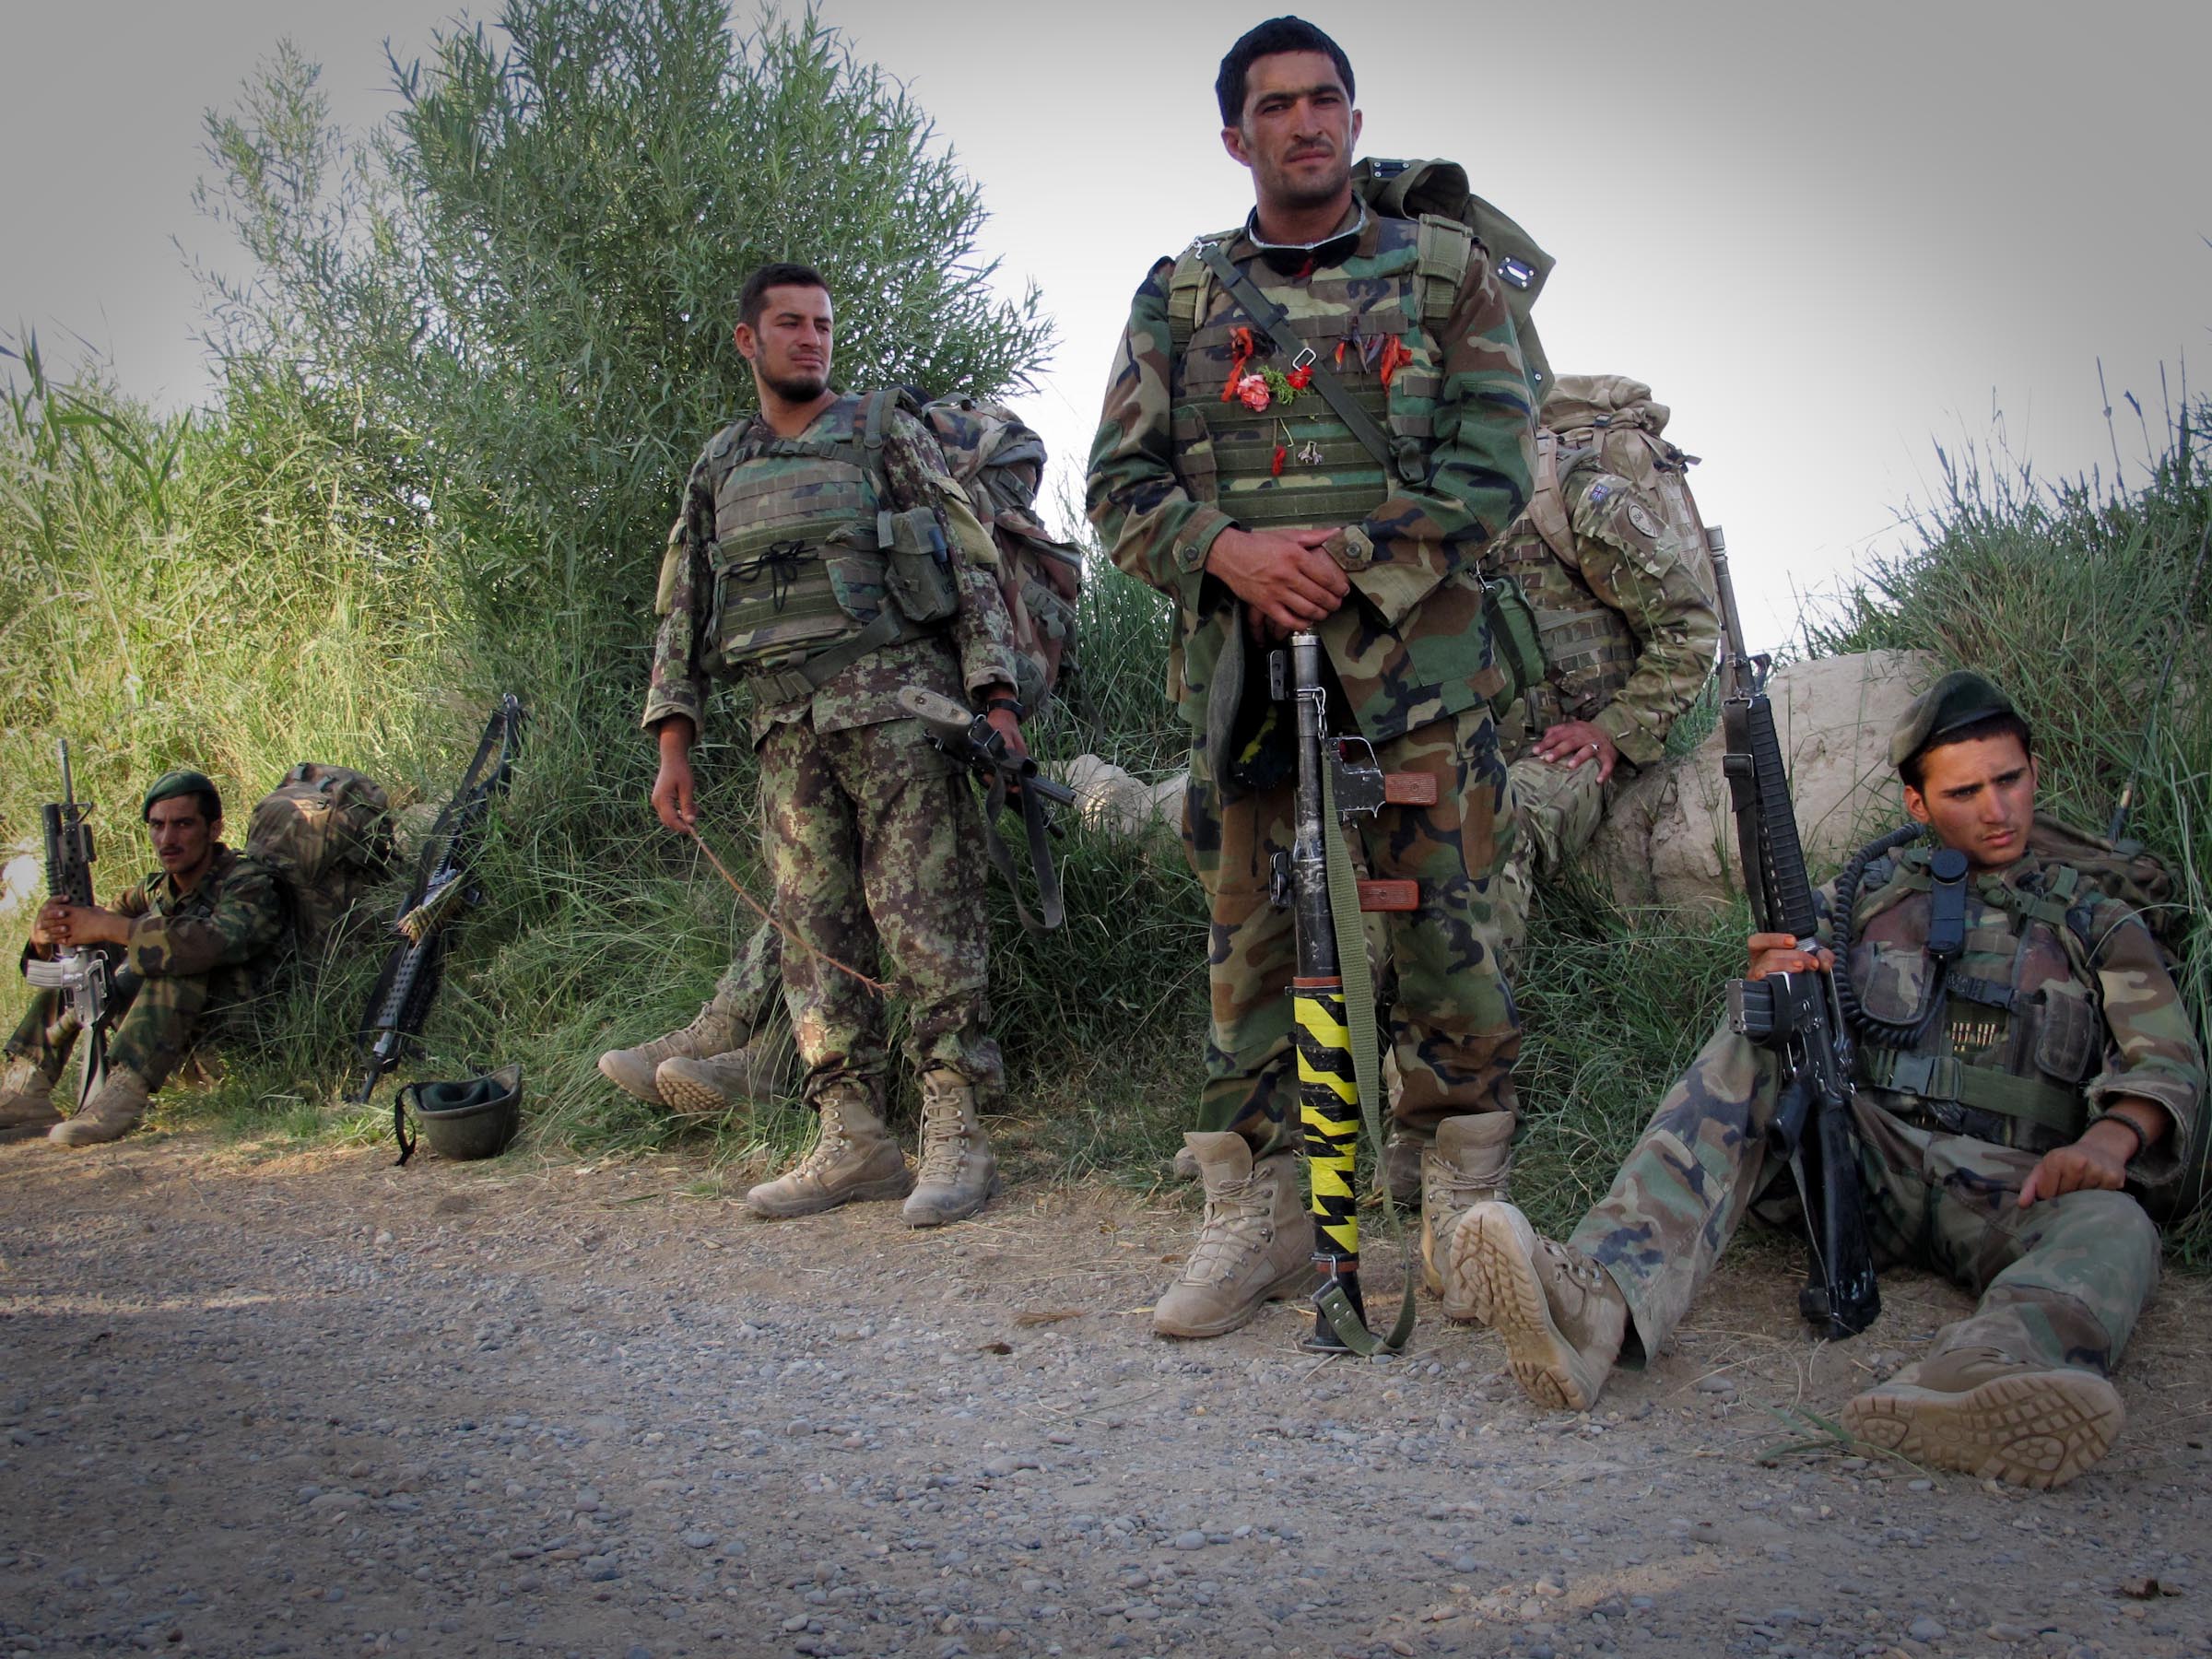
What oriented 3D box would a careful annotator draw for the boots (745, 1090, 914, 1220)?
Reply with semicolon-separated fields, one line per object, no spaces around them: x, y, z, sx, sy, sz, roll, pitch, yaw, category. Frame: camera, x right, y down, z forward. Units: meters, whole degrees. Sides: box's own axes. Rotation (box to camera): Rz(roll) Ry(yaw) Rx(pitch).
-0.933;1.057;5.639;0.593;0.404;0.201;-3;-4;-38;boots

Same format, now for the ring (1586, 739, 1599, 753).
1.587;-0.271;5.613;0.044;0.042;0.013;0;-5;-15;ring

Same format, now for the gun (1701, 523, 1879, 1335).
1.618;0.338;3.999;0.313;1.593;0.489;-1;2;22;gun

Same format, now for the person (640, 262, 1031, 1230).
-0.898;-0.324;5.678;1.147;3.141;0.591;-1;2;17;person

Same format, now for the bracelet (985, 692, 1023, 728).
-0.339;-0.398;5.748;0.098;0.098;0.095;0;9;0;bracelet

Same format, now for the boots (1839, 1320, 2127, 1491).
1.684;1.130;3.340;0.481;0.250;0.238;-8;19;35;boots

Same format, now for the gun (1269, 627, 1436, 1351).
0.644;0.426;3.911;0.252;1.811;0.476;-6;-7;39;gun

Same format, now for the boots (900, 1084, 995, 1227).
-0.517;1.039;5.522;0.219;0.409;0.644;-7;-2;13;boots

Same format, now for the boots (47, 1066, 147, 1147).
-4.370;1.196;7.458;0.335;0.314;0.276;-1;1;13;boots

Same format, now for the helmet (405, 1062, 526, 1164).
-2.491;1.117;6.629;0.472;0.318;0.420;-1;1;-6;helmet

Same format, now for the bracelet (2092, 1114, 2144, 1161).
2.220;0.666;3.742;0.023;0.099;0.092;-43;21;-5;bracelet

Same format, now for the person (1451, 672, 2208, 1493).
1.773;0.601;3.903;1.949;1.190;1.302;-30;27;-36;person

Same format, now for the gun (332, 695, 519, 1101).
-2.951;0.256;7.813;0.347;2.037;0.604;8;-26;10;gun

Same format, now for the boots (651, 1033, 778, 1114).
-1.440;0.888;6.156;0.195;0.257;0.549;-18;-20;41;boots

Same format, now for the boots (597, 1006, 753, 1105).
-1.536;0.843;6.206;0.470;0.210;0.337;13;-2;-40;boots

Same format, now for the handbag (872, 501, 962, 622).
-0.609;-0.852;5.610;0.128;0.372;0.267;0;2;45;handbag
